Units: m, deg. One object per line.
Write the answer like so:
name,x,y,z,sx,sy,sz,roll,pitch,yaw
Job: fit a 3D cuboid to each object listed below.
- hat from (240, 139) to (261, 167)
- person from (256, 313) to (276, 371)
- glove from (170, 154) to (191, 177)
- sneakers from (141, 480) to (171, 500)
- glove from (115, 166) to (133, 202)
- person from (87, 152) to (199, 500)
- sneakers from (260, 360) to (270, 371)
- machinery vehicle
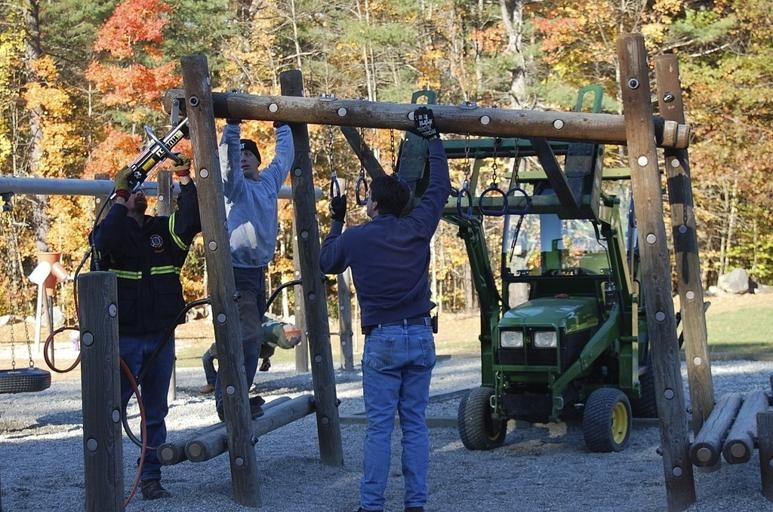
hat,-1.743,-1.352,12.763,0.236,0.303,0.345,-2,-2,32
person,-2.026,1.607,16.699,0.264,1.006,0.670,-7,33,-17
glove,-2.478,-1.097,12.010,0.186,0.261,0.256,-1,8,-1
sneakers,-2.816,2.858,12.073,0.336,0.161,0.177,-12,-10,41
glove,-3.142,-0.874,11.869,0.116,0.378,0.254,9,0,-29
person,-2.847,0.892,12.033,1.261,4.126,0.450,-5,4,-19
sneakers,-2.113,1.931,17.353,0.117,0.173,0.379,1,-19,-5
machinery vehicle,2.582,0.268,14.365,2.126,4.802,6.228,1,-2,27
